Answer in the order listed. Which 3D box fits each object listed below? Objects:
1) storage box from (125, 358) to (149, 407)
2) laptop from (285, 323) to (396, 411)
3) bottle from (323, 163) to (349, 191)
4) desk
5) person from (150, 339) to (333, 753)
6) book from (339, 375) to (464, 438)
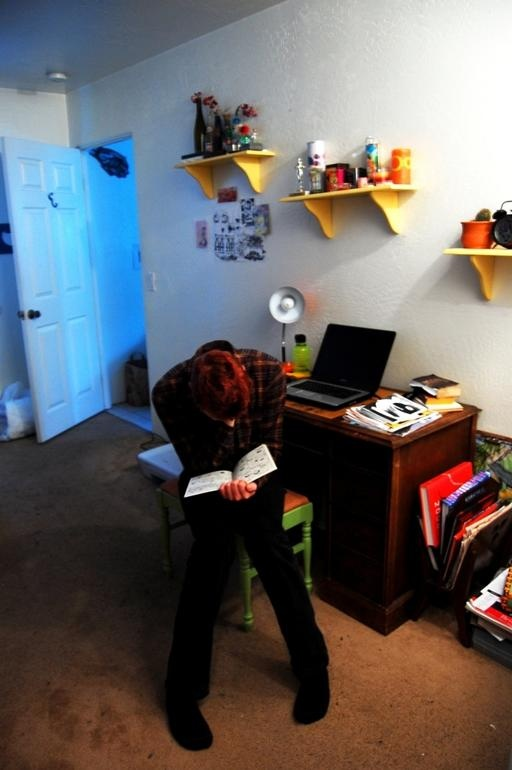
[{"bbox_3d":[-0.979,-0.005,4.526,0.301,0.349,0.104,8,16,42],"label":"storage box"},{"bbox_3d":[0.321,-0.075,2.189,0.359,0.238,0.344,-14,19,-38],"label":"laptop"},{"bbox_3d":[0.303,-0.780,2.110,0.089,0.104,0.119,-2,12,6],"label":"bottle"},{"bbox_3d":[0.379,0.434,2.289,0.653,0.893,0.910,-12,17,-42],"label":"desk"},{"bbox_3d":[-0.084,0.320,1.588,0.452,0.618,1.111,-6,51,1],"label":"person"},{"bbox_3d":[0.504,0.074,1.847,0.312,0.075,0.200,-18,24,-36],"label":"book"}]
